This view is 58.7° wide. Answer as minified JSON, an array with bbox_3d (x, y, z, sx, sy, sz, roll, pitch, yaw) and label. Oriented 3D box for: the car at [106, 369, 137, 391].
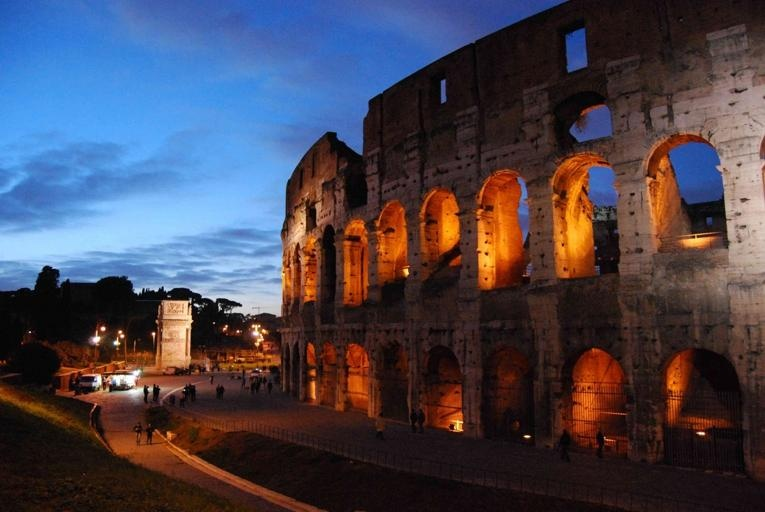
[{"bbox_3d":[-24.448,11.758,63.858,2.327,1.403,2.627,3,-1,-15],"label":"car"}]
